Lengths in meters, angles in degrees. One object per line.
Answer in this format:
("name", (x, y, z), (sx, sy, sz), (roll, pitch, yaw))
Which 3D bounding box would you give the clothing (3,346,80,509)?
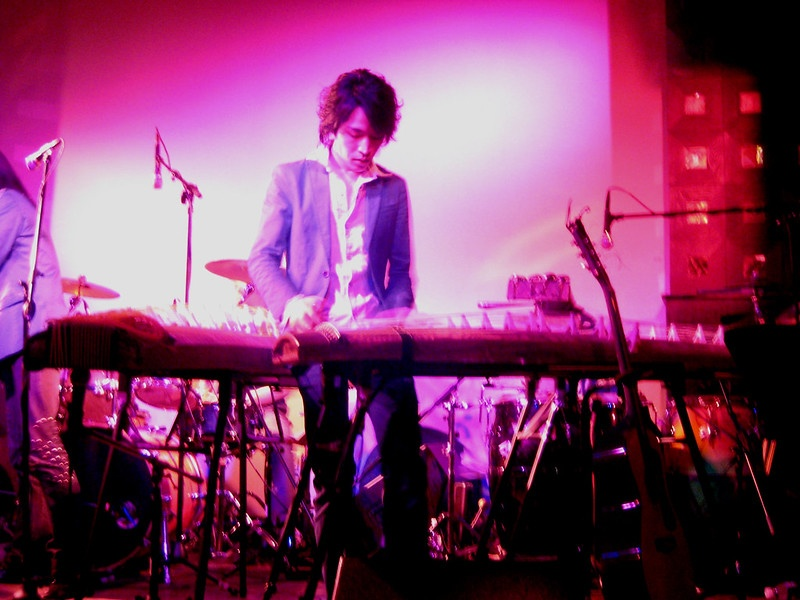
("clothing", (-1.955, 0.690, 3.995), (0.485, 0.934, 0.274), (7, -3, -14))

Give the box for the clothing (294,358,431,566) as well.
("clothing", (-0.137, 0.608, 2.778), (0.478, 0.756, 0.465), (-4, -6, -6))

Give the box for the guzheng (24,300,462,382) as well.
("guzheng", (-0.747, 0.166, 2.750), (1.151, 0.294, 0.493), (-7, -7, 8))
